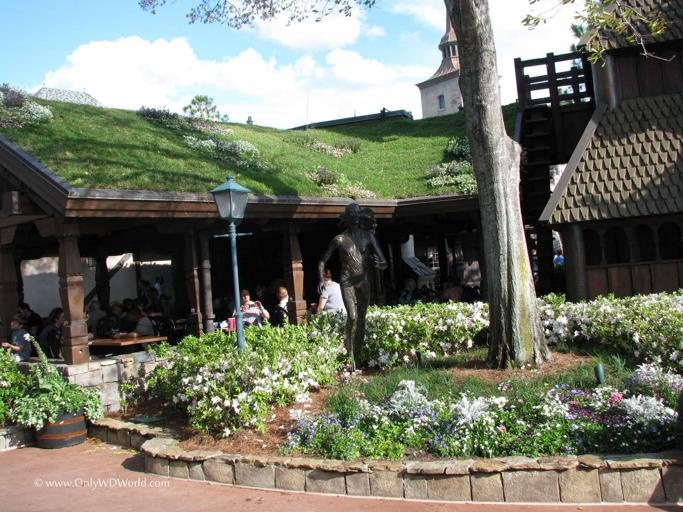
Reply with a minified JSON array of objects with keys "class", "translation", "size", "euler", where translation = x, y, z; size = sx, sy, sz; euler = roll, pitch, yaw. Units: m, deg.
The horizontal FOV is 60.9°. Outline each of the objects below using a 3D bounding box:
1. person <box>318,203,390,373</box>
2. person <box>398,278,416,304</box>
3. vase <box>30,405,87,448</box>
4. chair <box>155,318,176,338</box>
[{"class":"person","translation":[0.248,0.476,9.187],"size":[0.978,2.578,0.541],"euler":[-4,-5,14]},{"class":"person","translation":[1.690,0.926,14.991],"size":[0.255,0.424,0.715],"euler":[-3,7,-9]},{"class":"vase","translation":[-4.216,2.560,8.750],"size":[0.549,0.462,0.580],"euler":[-5,-12,15]},{"class":"chair","translation":[-4.121,1.713,13.614],"size":[0.398,0.660,0.442],"euler":[0,3,-44]}]
